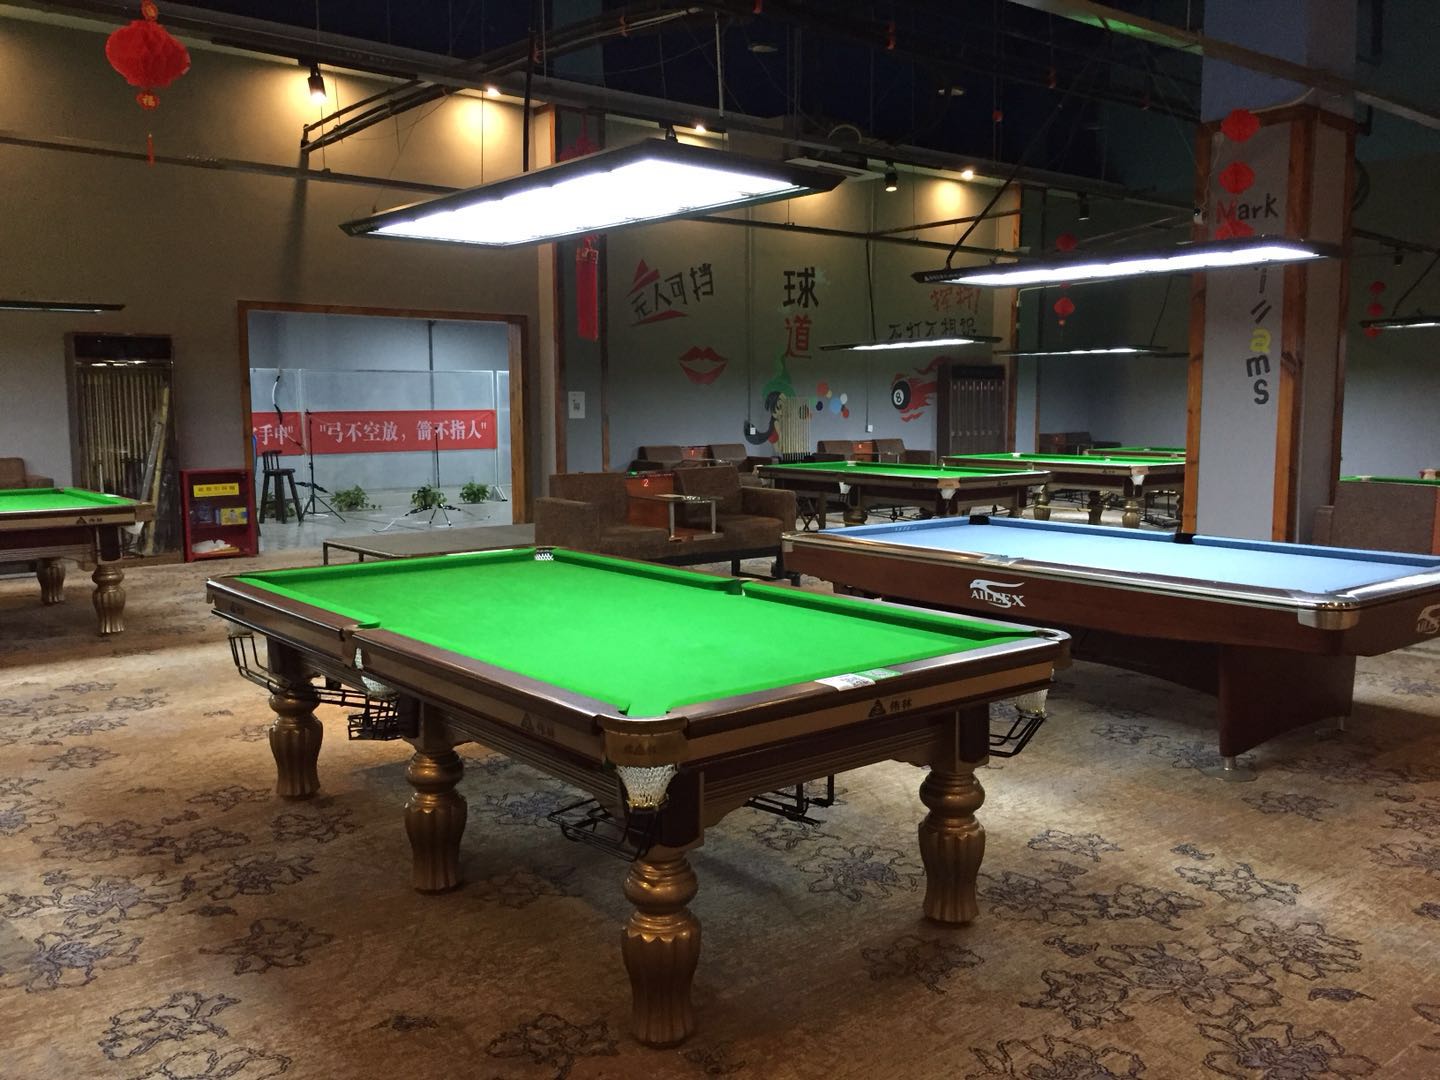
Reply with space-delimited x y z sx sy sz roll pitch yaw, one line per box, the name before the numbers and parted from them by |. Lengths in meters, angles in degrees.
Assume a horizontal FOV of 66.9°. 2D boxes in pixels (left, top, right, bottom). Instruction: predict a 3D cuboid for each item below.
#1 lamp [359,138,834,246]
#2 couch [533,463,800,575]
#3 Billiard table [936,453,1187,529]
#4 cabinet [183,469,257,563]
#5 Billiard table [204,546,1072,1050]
lamp | -0.512 -1.419 4.514 2.356 0.173 0.752 9 12 44
couch | -0.393 -0.096 8.300 1.842 0.719 0.692 -6 19 -34
Billiard table | 3.177 -0.544 11.163 2.144 0.452 1.253 4 9 4
cabinet | -4.608 -0.243 9.943 0.614 0.813 0.346 -4 13 -20
Billiard table | 0.031 0.489 3.548 1.783 0.698 2.821 -4 6 -40
